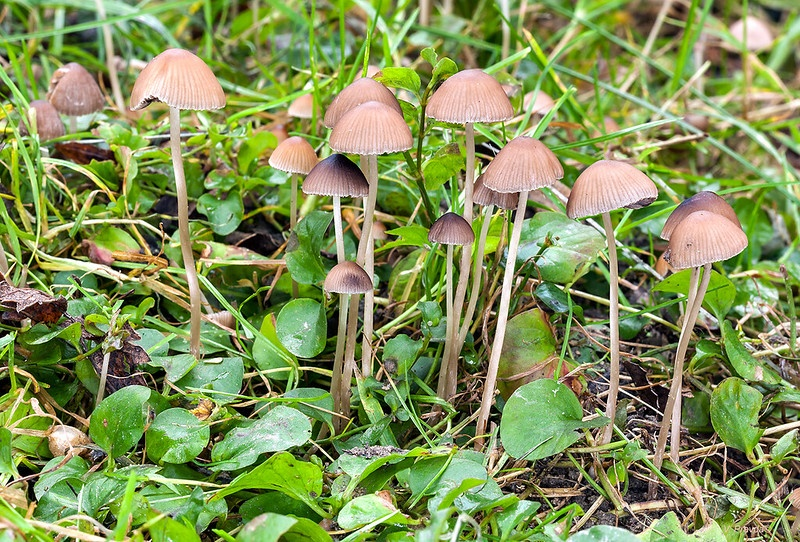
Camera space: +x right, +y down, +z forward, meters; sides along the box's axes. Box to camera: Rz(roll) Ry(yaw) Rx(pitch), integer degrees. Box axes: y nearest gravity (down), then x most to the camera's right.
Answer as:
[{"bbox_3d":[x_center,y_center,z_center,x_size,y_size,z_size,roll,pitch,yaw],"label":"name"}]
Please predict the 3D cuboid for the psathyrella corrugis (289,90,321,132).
[{"bbox_3d":[-0.531,-0.891,3.949,0.211,0.249,0.228,1,21,-4],"label":"psathyrella corrugis"}]

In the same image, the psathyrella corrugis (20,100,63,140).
[{"bbox_3d":[-1.810,-0.762,3.628,0.203,0.166,0.200,-11,19,-32],"label":"psathyrella corrugis"}]

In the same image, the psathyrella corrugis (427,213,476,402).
[{"bbox_3d":[0.194,0.165,3.046,0.228,0.803,0.182,3,6,-21],"label":"psathyrella corrugis"}]
